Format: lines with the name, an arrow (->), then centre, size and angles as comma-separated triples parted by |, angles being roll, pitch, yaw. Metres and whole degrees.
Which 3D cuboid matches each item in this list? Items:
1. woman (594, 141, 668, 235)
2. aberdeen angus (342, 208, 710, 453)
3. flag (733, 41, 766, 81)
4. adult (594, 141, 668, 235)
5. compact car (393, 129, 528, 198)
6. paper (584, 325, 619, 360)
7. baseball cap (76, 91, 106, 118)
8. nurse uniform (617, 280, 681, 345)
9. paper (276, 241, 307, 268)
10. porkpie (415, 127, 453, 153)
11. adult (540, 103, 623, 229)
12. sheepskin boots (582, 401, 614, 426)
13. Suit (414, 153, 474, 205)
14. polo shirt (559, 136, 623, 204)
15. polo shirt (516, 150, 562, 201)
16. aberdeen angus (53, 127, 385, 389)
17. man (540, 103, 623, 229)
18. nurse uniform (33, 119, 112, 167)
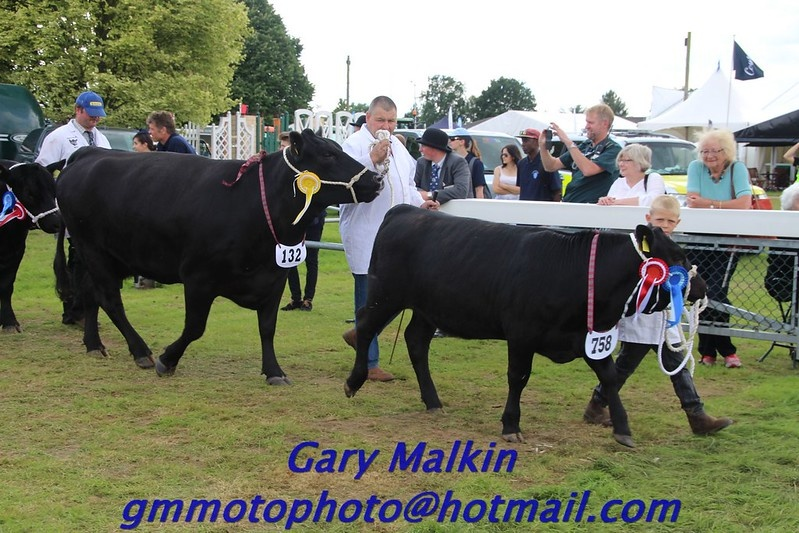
woman -> 2.550, -0.885, 10.466 | 0.828, 0.918, 1.137 | 0, 6, -20
aberdeen angus -> 1.092, 0.478, 8.491 | 3.359, 1.819, 0.994 | 8, 3, 35
flag -> 7.937, -4.675, 21.523 | 0.593, 0.823, 2.398 | 4, 10, 19
adult -> 2.647, -0.836, 10.287 | 0.828, 0.918, 1.137 | 0, 6, -20
compact car -> 1.454, -2.063, 18.759 | 1.589, 1.120, 2.562 | -4, 11, -31
paper -> 1.705, 0.647, 8.042 | 0.366, 0.229, 0.016 | -8, 16, -29
baseball cap -> -3.610, -1.918, 10.838 | 0.403, 0.187, 0.264 | 28, 25, 14
nurse uniform -> 2.212, 0.536, 8.384 | 0.517, 0.276, 0.309 | 0, 8, 11
paper -> -1.067, -0.125, 9.113 | 0.332, 0.212, 0.036 | -4, 12, -36
porkpie -> 0.392, -1.407, 10.432 | 0.322, 0.110, 0.251 | 12, 15, -24
adult -> 2.009, -0.999, 10.630 | 0.999, 1.527, 0.765 | 3, 10, -8
sheepskin boots -> 1.813, 1.382, 8.682 | 0.306, 0.247, 0.149 | -1, 0, 14
Suit -> 0.438, -0.989, 10.542 | 0.577, 0.589, 0.699 | 2, 6, 33
polo shirt -> 2.150, -1.080, 10.690 | 0.597, 0.856, 0.835 | -6, 15, -23
polo shirt -> 1.788, -1.145, 12.154 | 0.451, 0.614, 0.778 | -19, 20, -33
aberdeen angus -> -1.874, -0.094, 9.569 | 4.053, 2.336, 1.161 | 4, 0, 25
man -> 1.992, -1.016, 10.664 | 0.945, 1.509, 0.799 | 8, 12, 15
nurse uniform -> -3.774, -1.433, 10.818 | 0.996, 0.431, 0.618 | -6, 1, 43
